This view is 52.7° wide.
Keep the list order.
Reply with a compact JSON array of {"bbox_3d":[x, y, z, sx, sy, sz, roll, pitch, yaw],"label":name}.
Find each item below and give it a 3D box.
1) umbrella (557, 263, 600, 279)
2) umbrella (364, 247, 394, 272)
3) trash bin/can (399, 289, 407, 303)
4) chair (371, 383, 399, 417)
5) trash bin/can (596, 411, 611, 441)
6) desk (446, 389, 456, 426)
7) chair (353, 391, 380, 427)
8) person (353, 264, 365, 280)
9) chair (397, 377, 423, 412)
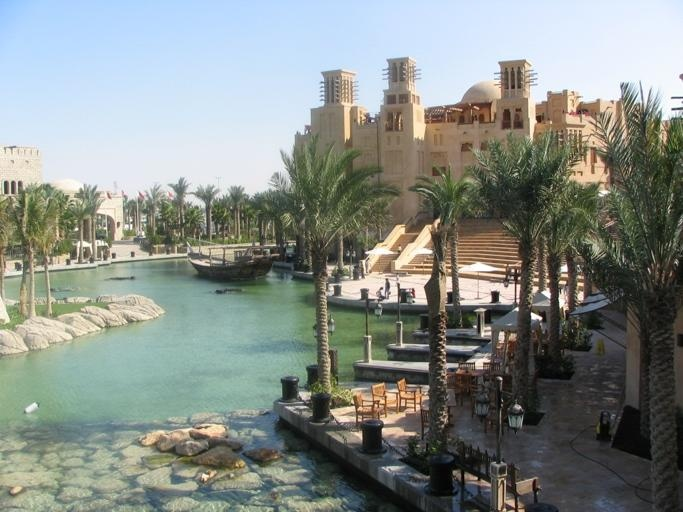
[{"bbox_3d":[8.241,0.519,23.982,1.777,0.461,0.445,13,-3,30],"label":"umbrella"},{"bbox_3d":[2.713,0.424,50.216,1.727,1.684,1.844,3,4,13],"label":"umbrella"},{"bbox_3d":[3.174,2.002,34.236,0.454,0.522,0.601,-3,7,1],"label":"trash bin/can"},{"bbox_3d":[1.166,3.827,18.304,0.498,0.825,0.575,-3,0,43],"label":"chair"},{"bbox_3d":[6.185,3.985,16.254,0.326,0.610,0.529,0,8,23],"label":"trash bin/can"},{"bbox_3d":[2.836,3.958,17.818,0.283,0.249,1.027,-2,9,5],"label":"desk"},{"bbox_3d":[0.644,3.932,17.742,0.675,0.994,0.661,-1,0,19],"label":"chair"},{"bbox_3d":[1.044,1.080,46.343,0.830,1.152,0.901,-5,8,-32],"label":"person"},{"bbox_3d":[1.870,3.838,18.777,0.684,1.152,0.874,-1,0,23],"label":"chair"}]
